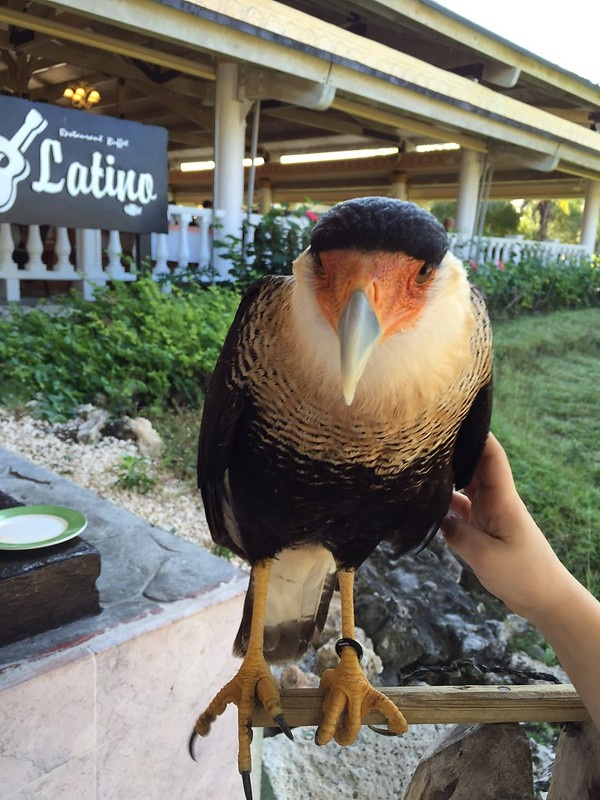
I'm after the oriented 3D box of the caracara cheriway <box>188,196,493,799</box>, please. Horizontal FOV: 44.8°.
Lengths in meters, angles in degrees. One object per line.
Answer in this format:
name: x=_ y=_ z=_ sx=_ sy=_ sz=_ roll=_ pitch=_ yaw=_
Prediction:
caracara cheriway: x=0.099 y=0.172 z=1.443 sx=0.577 sy=1.057 sz=0.724 roll=1 pitch=9 yaw=-12
